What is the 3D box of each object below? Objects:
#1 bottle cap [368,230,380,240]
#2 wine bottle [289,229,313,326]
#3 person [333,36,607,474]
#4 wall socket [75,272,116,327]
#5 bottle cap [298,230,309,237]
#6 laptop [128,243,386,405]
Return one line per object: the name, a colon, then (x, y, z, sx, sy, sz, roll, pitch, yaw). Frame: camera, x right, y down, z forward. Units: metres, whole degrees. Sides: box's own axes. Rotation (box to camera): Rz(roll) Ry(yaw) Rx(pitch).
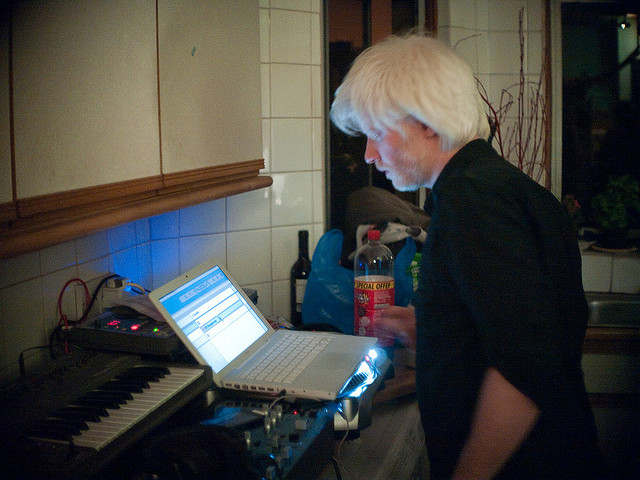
bottle cap: (0.193, -0.017, 1.990, 0.040, 0.041, 0.055, -1, 13, 2)
wine bottle: (-0.066, 0.158, 2.196, 0.128, 0.381, 0.129, -2, 4, 0)
person: (0.339, 0.017, 1.271, 0.370, 0.955, 0.527, -10, 14, -34)
wall socket: (-0.674, 0.180, 1.663, 0.047, 0.143, 0.083, 6, 14, 1)
bottle cap: (-0.063, -0.024, 2.150, 0.025, 0.021, 0.026, 0, 3, 2)
laptop: (-0.137, 0.232, 1.593, 0.546, 0.246, 0.427, 2, 10, 19)
